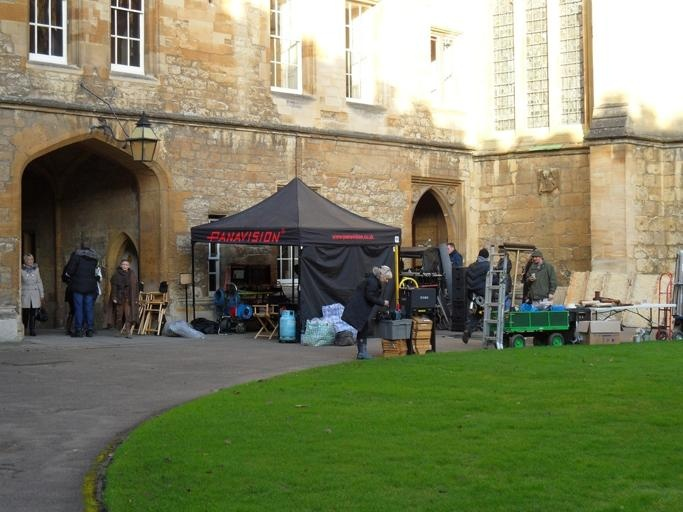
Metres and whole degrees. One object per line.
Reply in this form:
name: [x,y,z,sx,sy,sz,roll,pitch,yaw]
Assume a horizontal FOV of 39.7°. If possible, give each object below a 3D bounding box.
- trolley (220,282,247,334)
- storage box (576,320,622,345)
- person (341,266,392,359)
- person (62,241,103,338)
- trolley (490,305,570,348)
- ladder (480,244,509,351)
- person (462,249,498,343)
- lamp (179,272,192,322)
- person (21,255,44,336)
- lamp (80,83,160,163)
trolley: [-2.375,1.075,20.118,0.461,1.011,0.607,5,6,-10]
storage box: [4.706,1.397,17.138,0.915,0.436,0.405,0,-2,-24]
person: [0.457,0.943,15.366,0.541,1.491,0.874,1,-2,-40]
person: [-5.247,0.662,19.086,0.616,1.937,0.497,-2,6,-31]
trolley: [3.374,1.292,16.881,1.302,0.657,0.746,2,-5,-21]
ladder: [2.693,0.777,16.449,0.429,1.577,0.553,2,5,25]
person: [2.602,0.752,18.100,0.559,1.709,0.648,-2,5,-7]
lamp: [-3.278,0.894,19.997,0.251,1.038,0.237,-1,-2,-11]
person: [-6.173,0.747,18.907,0.506,1.904,0.448,-1,3,-36]
lamp: [-4.284,-2.501,18.956,1.072,1.884,1.174,0,5,37]
